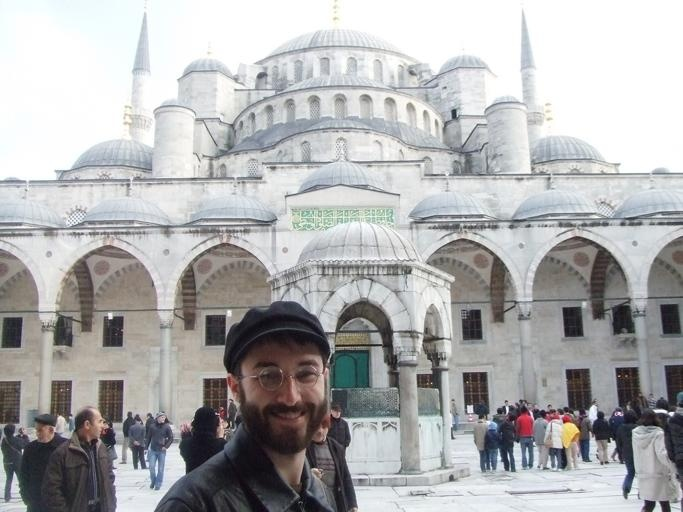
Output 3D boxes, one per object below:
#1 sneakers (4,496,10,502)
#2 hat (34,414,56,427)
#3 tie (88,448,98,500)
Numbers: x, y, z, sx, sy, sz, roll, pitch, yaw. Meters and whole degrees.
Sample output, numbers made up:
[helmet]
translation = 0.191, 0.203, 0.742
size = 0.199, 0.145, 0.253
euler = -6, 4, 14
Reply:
[sneakers]
translation = -5.978, 4.360, 13.807
size = 0.111, 0.086, 0.282
euler = 4, -16, -23
[hat]
translation = -3.667, 2.030, 9.549
size = 0.234, 0.156, 0.310
euler = 2, -15, -18
[tie]
translation = -2.895, 2.540, 8.986
size = 0.146, 0.660, 0.064
euler = 8, -18, -36
